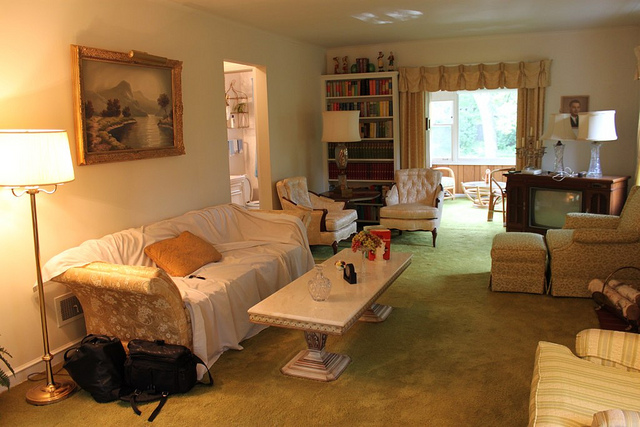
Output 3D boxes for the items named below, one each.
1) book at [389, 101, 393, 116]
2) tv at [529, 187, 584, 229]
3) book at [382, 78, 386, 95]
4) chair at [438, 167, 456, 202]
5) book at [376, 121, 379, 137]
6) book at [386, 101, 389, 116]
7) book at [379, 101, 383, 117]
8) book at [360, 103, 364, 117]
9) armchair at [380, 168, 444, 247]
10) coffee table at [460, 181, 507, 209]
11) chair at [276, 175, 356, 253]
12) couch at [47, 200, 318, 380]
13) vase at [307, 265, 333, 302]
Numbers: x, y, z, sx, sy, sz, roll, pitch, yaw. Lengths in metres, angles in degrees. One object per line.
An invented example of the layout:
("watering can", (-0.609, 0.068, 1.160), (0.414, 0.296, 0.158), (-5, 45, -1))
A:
("book", (1.285, -1.909, 8.155), (0.058, 0.250, 0.048), (-2, 12, 12))
("tv", (3.607, -0.091, 6.785), (0.670, 0.589, 0.327), (1, 1, 43))
("book", (1.159, -2.310, 8.139), (0.060, 0.279, 0.046), (2, 14, 28))
("chair", (2.990, -0.666, 10.711), (0.445, 0.545, 0.469), (1, 6, 12))
("book", (1.056, -1.549, 8.283), (0.057, 0.266, 0.020), (-2, 12, 9))
("book", (1.224, -1.912, 8.168), (0.053, 0.249, 0.033), (-2, 12, 9))
("book", (1.112, -1.904, 8.183), (0.056, 0.273, 0.091), (-2, 12, 9))
("book", (0.766, -1.918, 8.296), (0.070, 0.252, 0.068), (-12, 14, -35))
("armchair", (1.576, -0.089, 7.646), (1.005, 1.196, 1.174), (-1, 3, 14))
("coffee table", (3.645, -0.387, 10.054), (0.894, 0.454, 0.862), (-2, 7, -16))
("chair", (-0.048, 0.024, 7.190), (1.073, 1.198, 0.968), (0, 12, 18))
("couch", (-1.278, 0.722, 4.940), (1.344, 1.260, 2.527), (2, 12, 26))
("vase", (0.012, 0.638, 4.114), (0.228, 0.294, 0.230), (-3, 18, 18))
